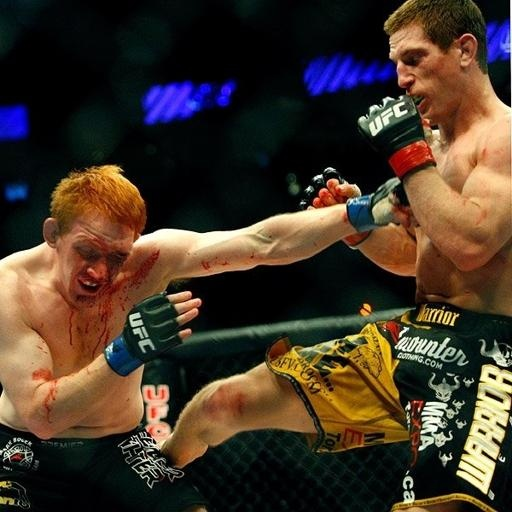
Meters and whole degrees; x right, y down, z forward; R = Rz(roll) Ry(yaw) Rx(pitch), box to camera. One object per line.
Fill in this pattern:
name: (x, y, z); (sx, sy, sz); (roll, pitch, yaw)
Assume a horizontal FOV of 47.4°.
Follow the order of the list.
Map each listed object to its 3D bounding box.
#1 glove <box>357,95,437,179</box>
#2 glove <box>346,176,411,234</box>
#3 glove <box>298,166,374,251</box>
glove: (0.503, -0.421, 2.060); (0.208, 0.278, 0.270); (-24, 15, 15)
glove: (0.440, -0.177, 2.109); (0.245, 0.098, 0.161); (-13, 41, 23)
glove: (0.389, -0.213, 2.663); (0.305, 0.387, 0.170); (-42, -9, 6)
